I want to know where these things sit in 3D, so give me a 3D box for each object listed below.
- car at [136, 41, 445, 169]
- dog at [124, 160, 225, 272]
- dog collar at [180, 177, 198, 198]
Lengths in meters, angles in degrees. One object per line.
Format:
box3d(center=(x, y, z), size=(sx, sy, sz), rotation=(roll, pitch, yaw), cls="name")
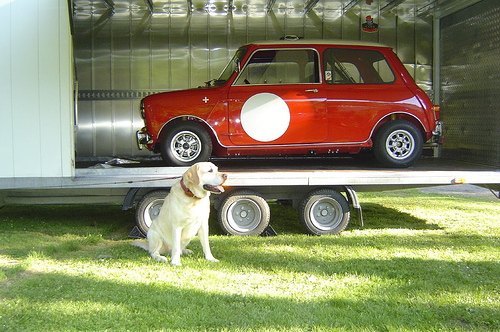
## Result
box3d(center=(0.734, -0.988, 8.446), size=(4.240, 1.897, 2.540), rotation=(2, 0, -1), cls="car")
box3d(center=(-1.107, 0.670, 6.374), size=(1.675, 1.397, 0.799), rotation=(0, -2, 41), cls="dog")
box3d(center=(-0.828, 0.294, 5.964), size=(0.195, 0.050, 0.179), rotation=(52, 9, 27), cls="dog collar")
